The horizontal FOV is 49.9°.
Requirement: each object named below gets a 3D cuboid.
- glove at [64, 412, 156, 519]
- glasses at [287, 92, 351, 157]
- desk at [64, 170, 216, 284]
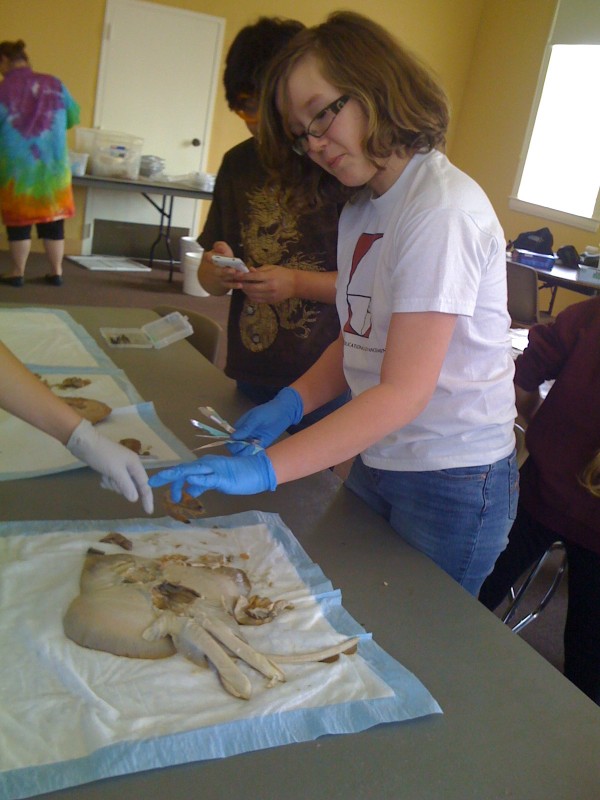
[{"bbox_3d":[-0.287,0.119,1.016,0.089,0.146,0.072,-22,37,-4],"label":"glove"},{"bbox_3d":[0.028,-0.396,0.887,0.019,0.061,0.062,39,19,10],"label":"glasses"},{"bbox_3d":[-1.588,-1.608,6.016,1.340,0.914,0.747,-4,29,-34],"label":"desk"}]
